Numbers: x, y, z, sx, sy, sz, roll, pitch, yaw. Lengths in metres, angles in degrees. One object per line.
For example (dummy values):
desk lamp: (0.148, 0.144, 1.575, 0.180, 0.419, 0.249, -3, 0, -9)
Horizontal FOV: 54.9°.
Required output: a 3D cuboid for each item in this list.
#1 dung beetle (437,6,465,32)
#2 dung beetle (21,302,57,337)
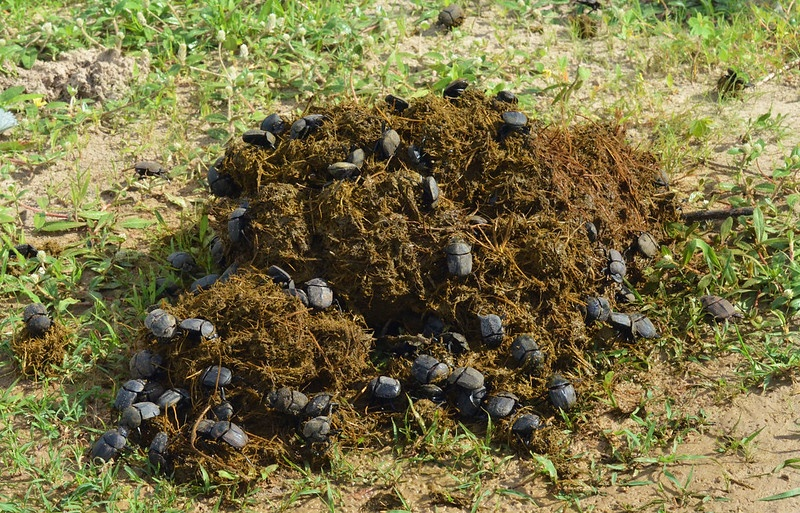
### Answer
dung beetle: (0.570, -2.662, 8.685, 0.256, 0.168, 0.302, 30, 56, 14)
dung beetle: (-3.012, 0.522, 6.394, 0.226, 0.126, 0.284, 1, 37, -29)
